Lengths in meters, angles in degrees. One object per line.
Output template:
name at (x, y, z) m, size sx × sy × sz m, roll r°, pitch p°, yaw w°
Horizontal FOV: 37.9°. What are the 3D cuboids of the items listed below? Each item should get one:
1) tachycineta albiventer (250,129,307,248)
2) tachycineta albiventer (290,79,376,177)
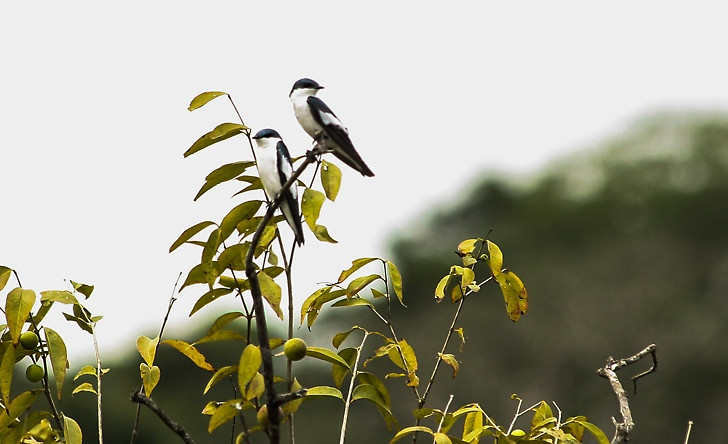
tachycineta albiventer at (-0.466, -0.277, 5.711) m, size 0.273 × 0.804 × 0.355 m, roll -1°, pitch -33°, yaw -4°
tachycineta albiventer at (-0.167, -0.564, 6.015) m, size 0.608 × 0.399 × 0.217 m, roll 20°, pitch -21°, yaw -19°
